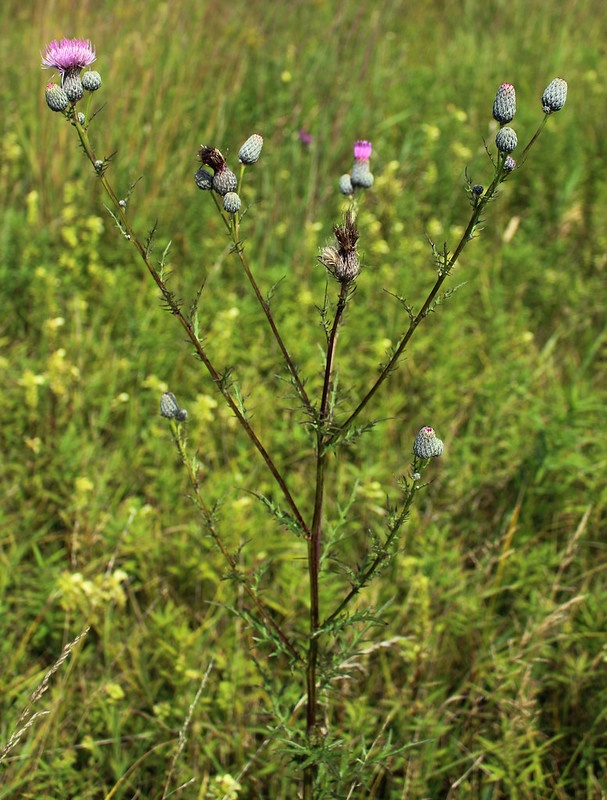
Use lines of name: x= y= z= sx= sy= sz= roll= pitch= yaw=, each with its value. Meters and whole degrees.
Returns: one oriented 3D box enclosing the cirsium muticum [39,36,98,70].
cirsium muticum: x=-0.575 y=-0.866 z=2.604 sx=0.097 sy=0.064 sz=0.104 roll=-12 pitch=32 yaw=-5
